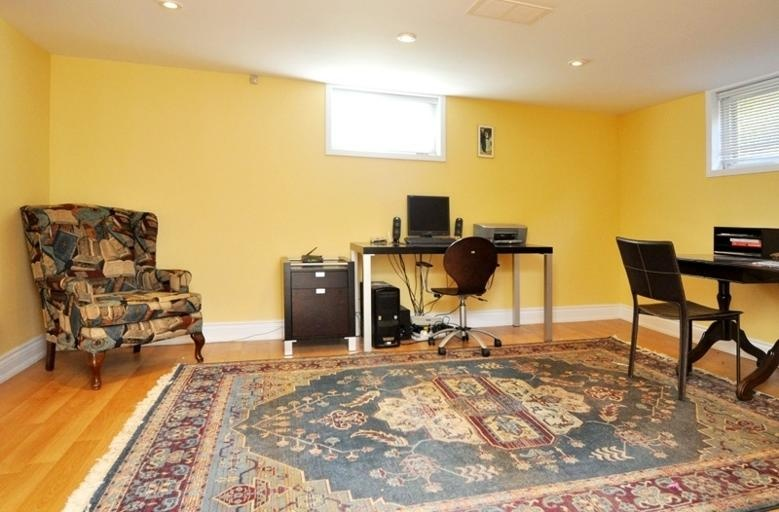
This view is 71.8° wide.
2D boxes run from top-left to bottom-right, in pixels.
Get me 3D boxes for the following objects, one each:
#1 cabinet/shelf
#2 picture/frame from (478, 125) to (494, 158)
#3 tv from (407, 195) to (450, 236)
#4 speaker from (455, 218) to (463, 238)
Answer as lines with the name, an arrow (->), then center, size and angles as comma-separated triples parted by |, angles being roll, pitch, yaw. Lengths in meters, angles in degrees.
cabinet/shelf -> -0.550, 0.532, 5.685 | 1.029, 1.112, 0.895 | 0, 0, -12
picture/frame -> 1.138, -1.332, 6.317 | 0.225, 0.361, 0.046 | -5, 7, -25
tv -> 0.420, -0.435, 5.954 | 0.531, 0.409, 0.085 | -2, 0, -13
speaker -> 0.797, -0.327, 6.155 | 0.108, 0.216, 0.282 | -1, 6, 7
